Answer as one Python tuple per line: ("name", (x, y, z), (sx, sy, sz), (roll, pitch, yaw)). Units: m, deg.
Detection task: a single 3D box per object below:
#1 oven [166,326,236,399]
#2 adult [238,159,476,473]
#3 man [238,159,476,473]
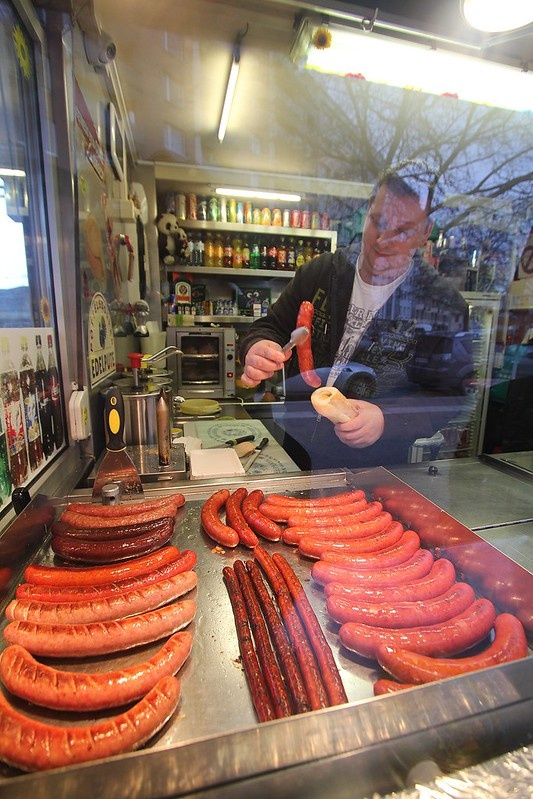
("oven", (-0.394, -0.217, 3.212), (0.538, 0.556, 0.452), (0, 3, -4))
("adult", (0.319, -0.272, 1.568), (0.730, 1.037, 0.617), (12, 35, 10))
("man", (0.319, -0.272, 1.568), (0.730, 1.037, 0.617), (12, 35, 10))
